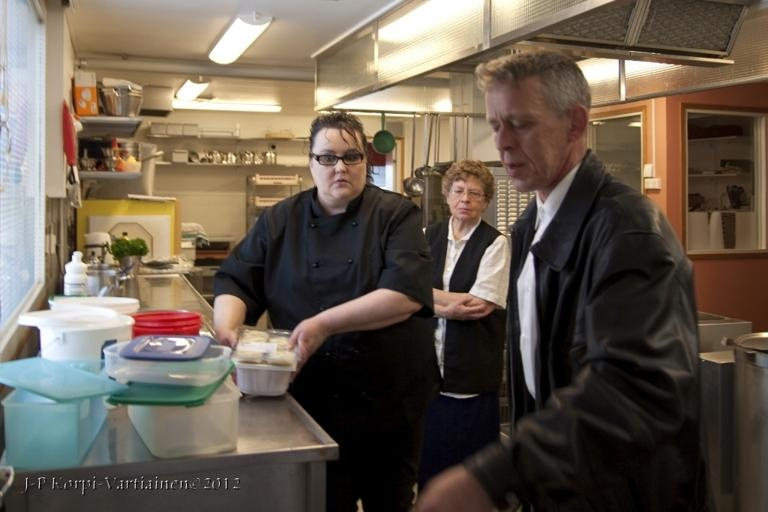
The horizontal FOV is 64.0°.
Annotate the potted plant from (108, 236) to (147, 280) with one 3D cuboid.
[{"bbox_3d":[-1.587,0.008,3.795,0.198,0.229,0.226,6,10,42],"label":"potted plant"}]

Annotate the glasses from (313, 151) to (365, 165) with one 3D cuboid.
[{"bbox_3d":[-0.170,-0.370,2.332,0.184,0.053,0.059,-2,8,-10],"label":"glasses"}]

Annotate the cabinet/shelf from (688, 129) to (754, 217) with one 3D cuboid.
[{"bbox_3d":[3.229,-0.833,5.952,0.904,0.777,0.280,0,-2,-2],"label":"cabinet/shelf"}]

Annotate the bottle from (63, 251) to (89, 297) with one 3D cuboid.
[{"bbox_3d":[-1.326,0.071,2.637,0.088,0.180,0.221,-4,8,-27],"label":"bottle"}]

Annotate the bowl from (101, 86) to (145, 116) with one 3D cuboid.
[{"bbox_3d":[-1.880,-1.118,4.454,0.264,0.151,0.256,2,9,0],"label":"bowl"}]

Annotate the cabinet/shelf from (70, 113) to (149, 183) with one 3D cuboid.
[{"bbox_3d":[-2.054,-0.803,4.621,0.460,0.428,0.879,-4,8,-25],"label":"cabinet/shelf"}]

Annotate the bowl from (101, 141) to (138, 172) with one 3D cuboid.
[{"bbox_3d":[-1.998,-0.767,4.675,0.226,0.178,0.262,0,-2,2],"label":"bowl"}]

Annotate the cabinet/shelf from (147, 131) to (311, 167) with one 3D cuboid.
[{"bbox_3d":[-2.188,-1.507,8.775,3.042,0.486,0.595,-1,5,-5],"label":"cabinet/shelf"}]

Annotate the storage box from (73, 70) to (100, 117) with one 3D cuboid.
[{"bbox_3d":[-2.091,-1.133,4.311,0.157,0.319,0.240,-4,8,-25],"label":"storage box"}]
